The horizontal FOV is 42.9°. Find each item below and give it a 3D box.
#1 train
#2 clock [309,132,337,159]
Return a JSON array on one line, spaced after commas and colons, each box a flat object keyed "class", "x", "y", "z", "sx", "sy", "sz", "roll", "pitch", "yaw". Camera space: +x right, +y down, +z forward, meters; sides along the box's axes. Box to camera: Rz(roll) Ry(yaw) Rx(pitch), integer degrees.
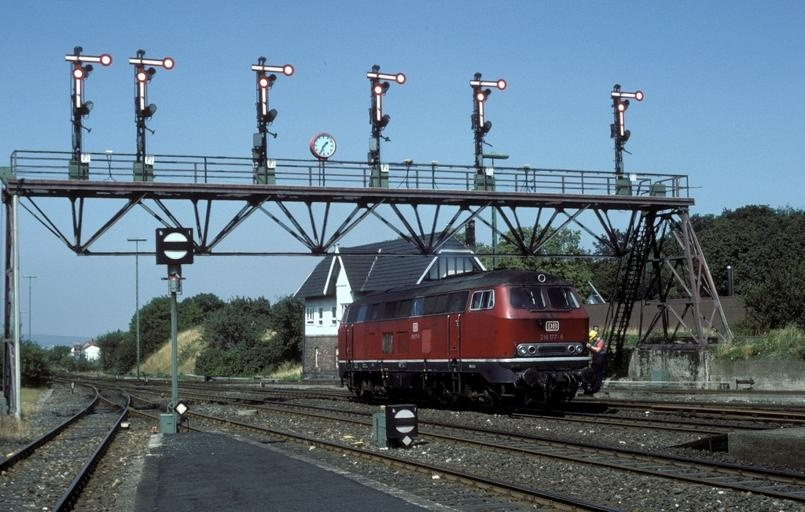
[{"class": "train", "x": 2.065, "y": 3.495, "z": 42.379, "sx": 3.884, "sy": 4.965, "sz": 13.855, "roll": 4, "pitch": -8, "yaw": -32}, {"class": "clock", "x": -3.541, "y": -4.872, "z": 45.585, "sx": 0.989, "sy": 1.224, "sz": 0.833, "roll": 2, "pitch": -7, "yaw": -16}]
